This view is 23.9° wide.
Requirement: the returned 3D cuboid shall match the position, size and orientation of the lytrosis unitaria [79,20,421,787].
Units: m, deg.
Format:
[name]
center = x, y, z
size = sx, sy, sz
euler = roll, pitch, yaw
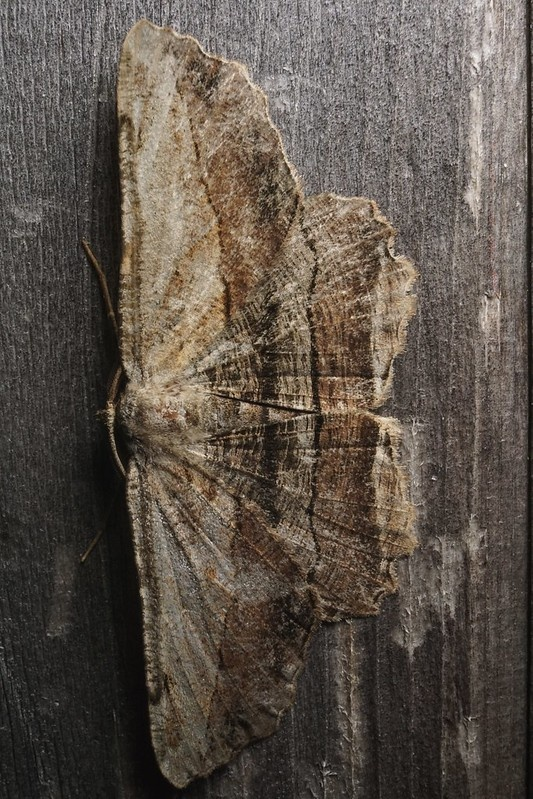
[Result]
[lytrosis unitaria]
center = 0.004, -0.007, 1.439
size = 0.350, 0.834, 0.127
euler = -6, 12, -19
